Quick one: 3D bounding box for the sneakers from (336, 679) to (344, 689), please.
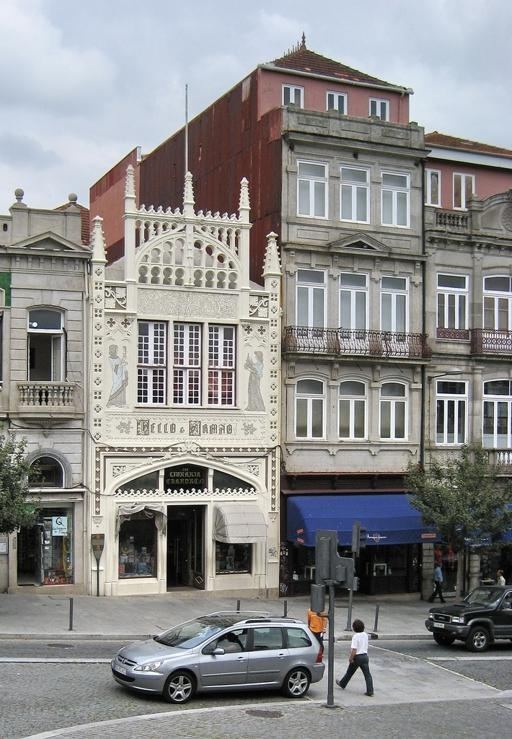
[{"bbox_3d":[1.777,6.614,32.409,0.087,0.252,0.178,7,-42,-33],"label":"sneakers"}]

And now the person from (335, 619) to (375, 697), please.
[{"bbox_3d":[2.104,6.087,32.532,0.714,1.566,2.229,0,-9,4],"label":"person"}]
